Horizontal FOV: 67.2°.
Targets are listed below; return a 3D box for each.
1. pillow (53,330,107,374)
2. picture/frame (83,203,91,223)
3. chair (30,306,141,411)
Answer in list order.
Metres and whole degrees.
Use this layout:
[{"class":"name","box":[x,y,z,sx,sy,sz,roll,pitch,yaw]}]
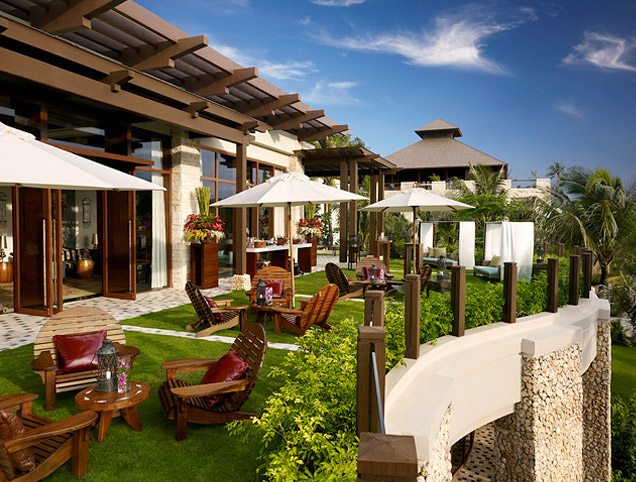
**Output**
[{"class":"pillow","box":[-3.181,1.490,6.353,0.658,0.424,0.236,-6,3,-23]},{"class":"picture/frame","box":[-8.332,-1.055,17.220,0.117,0.831,0.332,9,16,16]},{"class":"chair","box":[-3.333,1.426,6.791,1.650,1.053,1.331,-2,9,-34]}]
